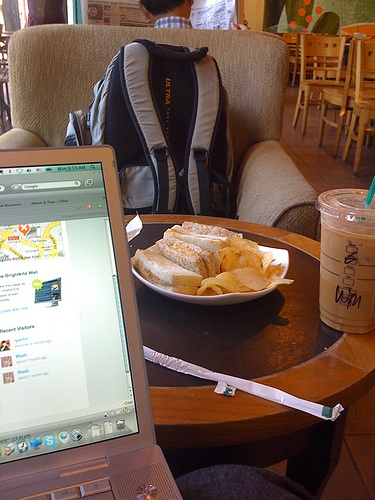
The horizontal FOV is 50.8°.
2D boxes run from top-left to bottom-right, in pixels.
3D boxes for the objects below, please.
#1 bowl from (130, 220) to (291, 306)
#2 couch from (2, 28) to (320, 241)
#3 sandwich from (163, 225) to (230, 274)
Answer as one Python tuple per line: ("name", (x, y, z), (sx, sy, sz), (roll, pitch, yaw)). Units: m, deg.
("bowl", (0.021, -0.028, 0.552), (0.158, 0.052, 0.156), (1, 22, 0))
("couch", (-0.078, -0.384, 1.177), (0.811, 0.542, 0.595), (2, 17, -5))
("sandwich", (0.021, -0.010, 0.606), (0.080, 0.024, 0.078), (21, 17, 33))
